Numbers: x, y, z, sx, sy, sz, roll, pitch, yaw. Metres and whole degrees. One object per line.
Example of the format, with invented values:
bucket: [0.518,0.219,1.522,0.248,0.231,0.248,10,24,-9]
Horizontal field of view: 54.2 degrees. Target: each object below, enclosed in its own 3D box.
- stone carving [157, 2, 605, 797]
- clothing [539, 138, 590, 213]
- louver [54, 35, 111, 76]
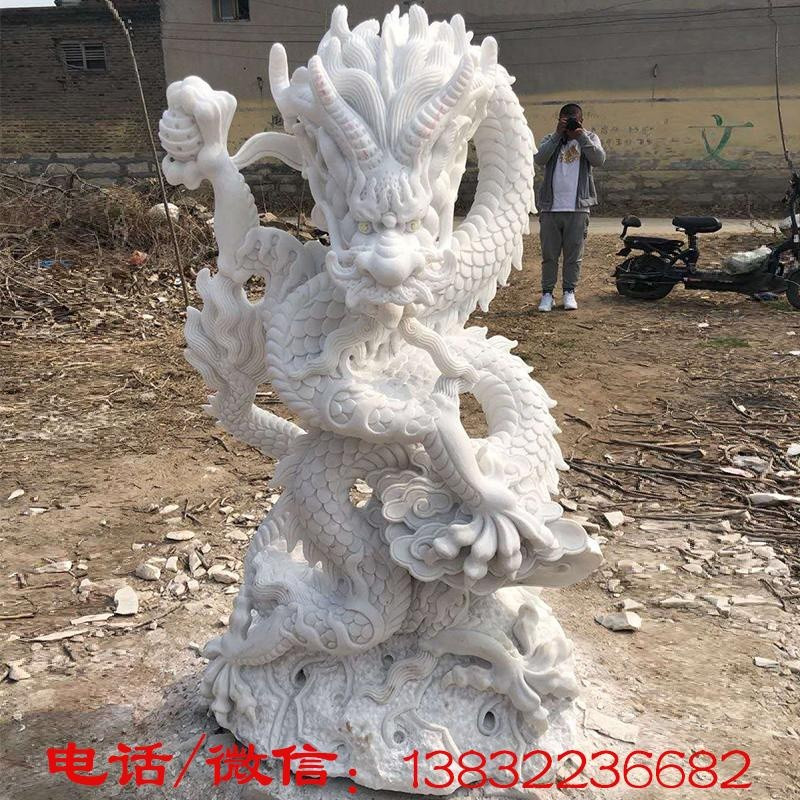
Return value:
stone carving: [-0.038,0.024,2.129,1.206,2.069,0.722,4,19,13]
clothing: [1.233,-1.722,5.984,0.547,0.494,0.195,4,7,15]
louver: [-4.348,-4.770,10.690,0.738,0.382,0.047,-1,19,0]
